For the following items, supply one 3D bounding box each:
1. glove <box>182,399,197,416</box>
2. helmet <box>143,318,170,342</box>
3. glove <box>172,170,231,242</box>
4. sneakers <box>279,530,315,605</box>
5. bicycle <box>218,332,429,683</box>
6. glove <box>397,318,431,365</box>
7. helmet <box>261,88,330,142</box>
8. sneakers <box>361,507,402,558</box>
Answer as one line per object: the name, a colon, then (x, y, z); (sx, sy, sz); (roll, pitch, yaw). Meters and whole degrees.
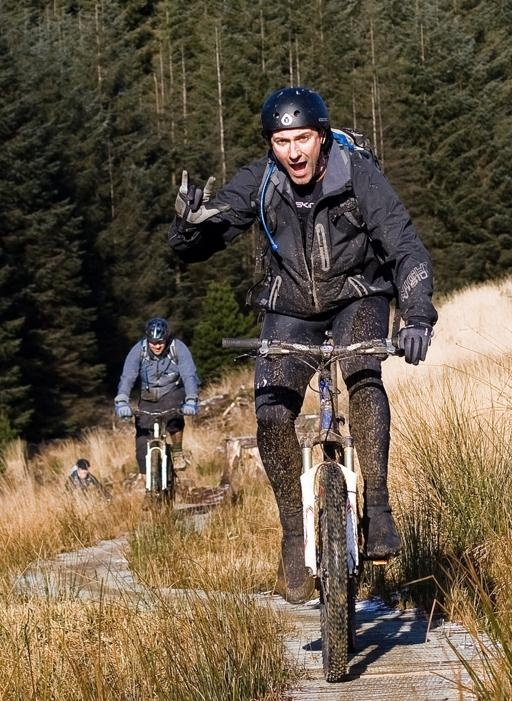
glove: (-0.559, 0.518, 11.354); (0.101, 0.062, 0.148); (-3, 51, 15)
helmet: (-0.905, -0.188, 12.031); (0.170, 0.219, 0.233); (-1, 14, -1)
glove: (-0.300, -0.722, 6.133); (0.261, 0.290, 0.448); (-8, 1, 22)
sneakers: (0.195, 1.047, 6.078); (0.187, 0.317, 0.070); (-9, -16, 33)
bicycle: (0.340, 0.666, 5.805); (0.703, 1.544, 0.801); (-8, 1, 2)
glove: (0.696, -0.024, 5.527); (0.155, 0.178, 0.290); (-8, 1, 8)
helmet: (0.203, -1.120, 6.269); (0.310, 0.324, 0.391); (-1, -12, -7)
sneakers: (0.584, 0.818, 5.831); (0.149, 0.103, 0.291); (-9, 53, 9)
